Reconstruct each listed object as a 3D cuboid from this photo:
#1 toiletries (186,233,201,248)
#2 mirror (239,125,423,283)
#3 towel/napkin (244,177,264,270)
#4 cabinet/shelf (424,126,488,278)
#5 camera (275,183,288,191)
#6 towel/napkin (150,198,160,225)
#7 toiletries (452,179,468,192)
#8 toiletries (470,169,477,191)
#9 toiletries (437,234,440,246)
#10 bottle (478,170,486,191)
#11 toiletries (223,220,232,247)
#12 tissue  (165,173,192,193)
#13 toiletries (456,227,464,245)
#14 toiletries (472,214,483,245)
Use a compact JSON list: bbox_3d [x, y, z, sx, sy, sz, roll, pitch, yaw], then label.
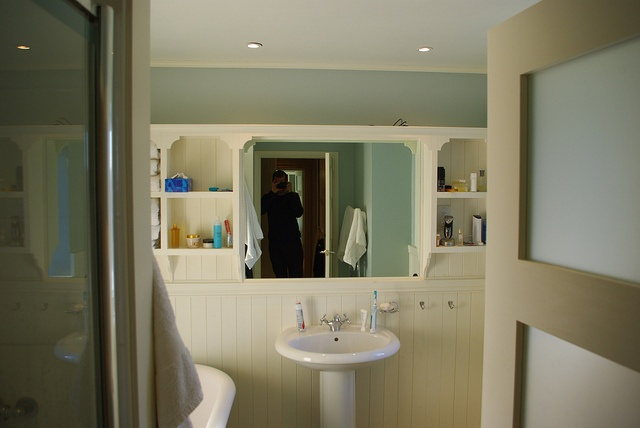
[{"bbox_3d":[-0.722,0.158,2.908,0.065,0.051,0.068,0,-1,10],"label":"toiletries"},{"bbox_3d":[0.022,-0.075,3.151,0.890,0.884,0.306,0,0,-9],"label":"mirror"},{"bbox_3d":[-0.411,0.079,3.091,0.164,0.517,0.084,-2,4,-41],"label":"towel/napkin"},{"bbox_3d":[0.794,-0.050,3.016,0.377,0.879,0.243,1,3,10],"label":"cabinet/shelf"},{"bbox_3d":[-0.237,-0.169,3.164,0.072,0.053,0.041,1,10,0],"label":"camera"},{"bbox_3d":[-0.833,-0.012,2.566,0.048,0.145,0.104,2,-4,-7],"label":"towel/napkin"},{"bbox_3d":[0.828,-0.171,3.020,0.083,0.071,0.116,1,3,14],"label":"toiletries"},{"bbox_3d":[0.907,-0.194,3.018,0.044,0.116,0.152,1,3,17],"label":"toiletries"},{"bbox_3d":[0.695,0.152,3.003,0.022,0.063,0.125,1,3,16],"label":"toiletries"},{"bbox_3d":[0.956,-0.202,3.027,0.039,0.124,0.111,1,3,17],"label":"bottle"},{"bbox_3d":[-0.527,0.108,2.926,0.044,0.158,0.114,0,3,-11],"label":"toiletries"},{"bbox_3d":[-0.788,-0.176,2.864,0.099,0.091,0.101,0,2,-3],"label":"tissue "},{"bbox_3d":[0.833,0.134,3.033,0.037,0.091,0.155,1,3,15],"label":"toiletries"},{"bbox_3d":[0.935,0.092,3.029,0.051,0.167,0.118,1,3,12],"label":"toiletries"}]
